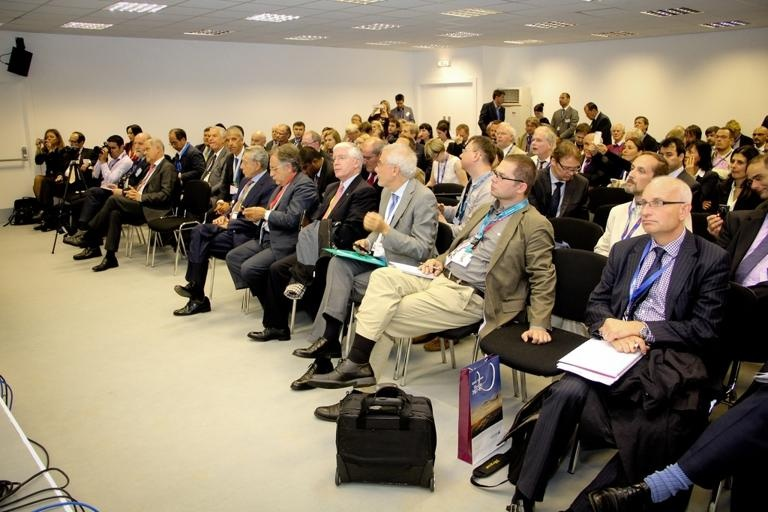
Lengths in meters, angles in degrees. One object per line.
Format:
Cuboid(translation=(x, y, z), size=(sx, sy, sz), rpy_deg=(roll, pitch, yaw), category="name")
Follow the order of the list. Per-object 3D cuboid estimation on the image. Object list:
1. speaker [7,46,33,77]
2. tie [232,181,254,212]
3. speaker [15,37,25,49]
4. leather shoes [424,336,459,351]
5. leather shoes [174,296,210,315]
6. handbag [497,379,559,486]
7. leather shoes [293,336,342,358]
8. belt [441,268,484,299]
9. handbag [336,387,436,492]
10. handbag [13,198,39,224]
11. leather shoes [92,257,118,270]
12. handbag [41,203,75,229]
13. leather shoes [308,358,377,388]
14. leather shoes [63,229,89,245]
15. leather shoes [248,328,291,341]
Cuboid(translation=(-7.301, -3.888, 10.776), size=(0.439, 0.543, 0.277), rpy_deg=(-9, 18, -31), category="speaker")
Cuboid(translation=(-1.539, -0.654, 5.831), size=(0.081, 0.324, 0.236), rpy_deg=(38, 15, 19), category="tie")
Cuboid(translation=(-7.250, -4.246, 10.688), size=(0.155, 0.196, 0.173), rpy_deg=(-8, 18, -29), category="speaker")
Cuboid(translation=(0.481, 0.739, 4.620), size=(0.119, 0.138, 0.360), rpy_deg=(0, -1, 44), category="leather shoes")
Cuboid(translation=(-1.950, 0.505, 5.460), size=(0.326, 0.131, 0.162), rpy_deg=(-1, 1, -34), category="leather shoes")
Cuboid(translation=(0.821, 1.033, 3.169), size=(0.196, 0.567, 0.407), rpy_deg=(25, -9, -12), category="handbag")
Cuboid(translation=(-0.502, 0.714, 4.236), size=(0.424, 0.172, 0.151), rpy_deg=(2, -3, -12), category="leather shoes")
Cuboid(translation=(0.581, 0.228, 3.968), size=(0.233, 0.054, 0.208), rpy_deg=(31, 12, -16), category="belt")
Cuboid(translation=(-0.027, 1.081, 3.423), size=(0.588, 0.575, 0.600), rpy_deg=(1, -1, -7), category="handbag")
Cuboid(translation=(-6.374, -0.782, 9.593), size=(0.448, 0.426, 0.258), rpy_deg=(2, -15, -27), category="handbag")
Cuboid(translation=(-3.531, 0.108, 6.856), size=(0.121, 0.148, 0.346), rpy_deg=(0, 3, 31), category="leather shoes")
Cuboid(translation=(-5.316, -0.640, 8.784), size=(0.485, 0.238, 0.753), rpy_deg=(-6, 4, -44), category="handbag")
Cuboid(translation=(-0.290, 0.800, 3.703), size=(0.423, 0.185, 0.199), rpy_deg=(0, -11, -6), category="leather shoes")
Cuboid(translation=(-4.154, -0.255, 7.267), size=(0.403, 0.167, 0.169), rpy_deg=(4, 11, 0), category="leather shoes")
Cuboid(translation=(-1.027, 0.716, 4.858), size=(0.378, 0.154, 0.139), rpy_deg=(4, -3, -9), category="leather shoes")
